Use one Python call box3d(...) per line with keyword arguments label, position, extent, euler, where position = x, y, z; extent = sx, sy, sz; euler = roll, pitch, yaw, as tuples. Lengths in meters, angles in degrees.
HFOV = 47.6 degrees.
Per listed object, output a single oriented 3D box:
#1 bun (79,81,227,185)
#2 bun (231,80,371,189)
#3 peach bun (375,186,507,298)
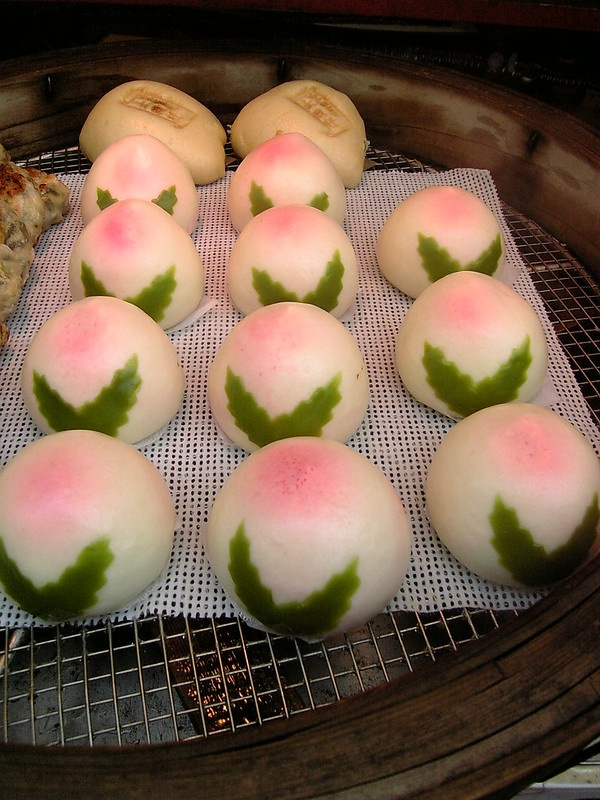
box3d(label="bun", position=(-0.403, -0.754, 1.896), extent=(0.376, 0.165, 0.294), euler=(30, 59, 1))
box3d(label="bun", position=(0.000, -0.780, 1.878), extent=(0.330, 0.177, 0.352), euler=(-32, 66, -17))
box3d(label="peach bun", position=(0.301, -0.349, 1.557), extent=(0.293, 0.155, 0.259), euler=(0, 51, -2))
